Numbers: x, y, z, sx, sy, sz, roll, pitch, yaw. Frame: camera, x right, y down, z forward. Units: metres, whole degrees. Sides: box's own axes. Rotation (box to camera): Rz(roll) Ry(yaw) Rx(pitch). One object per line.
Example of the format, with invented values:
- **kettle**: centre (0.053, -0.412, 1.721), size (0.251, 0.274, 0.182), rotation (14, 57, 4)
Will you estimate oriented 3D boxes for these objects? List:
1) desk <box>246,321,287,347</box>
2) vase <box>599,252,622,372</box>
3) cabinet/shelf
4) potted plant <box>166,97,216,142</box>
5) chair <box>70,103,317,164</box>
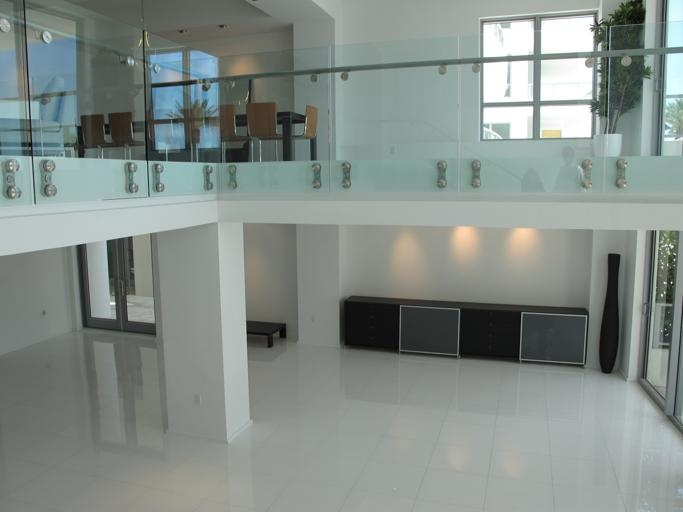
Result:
- **desk**: centre (-1.427, 1.425, 9.740), size (0.710, 0.351, 0.798), rotation (0, 12, 2)
- **vase**: centre (4.169, 0.898, 8.134), size (0.253, 1.858, 0.322), rotation (2, 12, 14)
- **cabinet/shelf**: centre (2.069, 1.284, 8.842), size (3.856, 0.922, 0.287), rotation (2, 12, 13)
- **potted plant**: centre (-1.646, -1.514, 5.774), size (0.434, 0.501, 0.469), rotation (-1, 8, -4)
- **chair**: centre (-1.437, -1.303, 5.466), size (2.273, 0.648, 0.948), rotation (-8, 14, -32)
